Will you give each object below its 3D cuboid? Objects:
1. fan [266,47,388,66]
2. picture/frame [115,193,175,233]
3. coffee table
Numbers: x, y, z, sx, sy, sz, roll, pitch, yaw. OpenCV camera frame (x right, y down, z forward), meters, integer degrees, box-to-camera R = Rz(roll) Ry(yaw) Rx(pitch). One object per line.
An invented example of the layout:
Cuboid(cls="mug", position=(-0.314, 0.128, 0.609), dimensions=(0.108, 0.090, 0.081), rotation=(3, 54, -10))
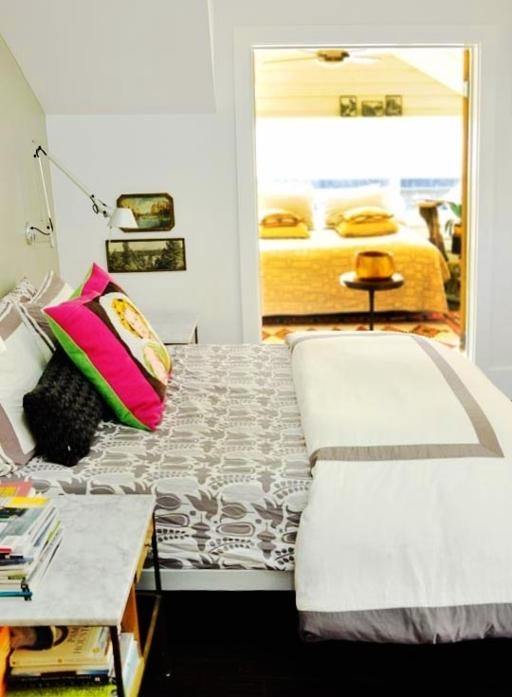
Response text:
Cuboid(cls="fan", position=(0.530, -2.351, 4.441), dimensions=(1.043, 0.082, 0.361), rotation=(0, 8, -1))
Cuboid(cls="picture/frame", position=(-0.601, -0.746, 3.008), dimensions=(0.354, 0.235, 0.017), rotation=(-1, 10, -5))
Cuboid(cls="coffee table", position=(0.797, -0.353, 4.351), dimensions=(0.505, 0.547, 0.457), rotation=(-2, 21, -3))
